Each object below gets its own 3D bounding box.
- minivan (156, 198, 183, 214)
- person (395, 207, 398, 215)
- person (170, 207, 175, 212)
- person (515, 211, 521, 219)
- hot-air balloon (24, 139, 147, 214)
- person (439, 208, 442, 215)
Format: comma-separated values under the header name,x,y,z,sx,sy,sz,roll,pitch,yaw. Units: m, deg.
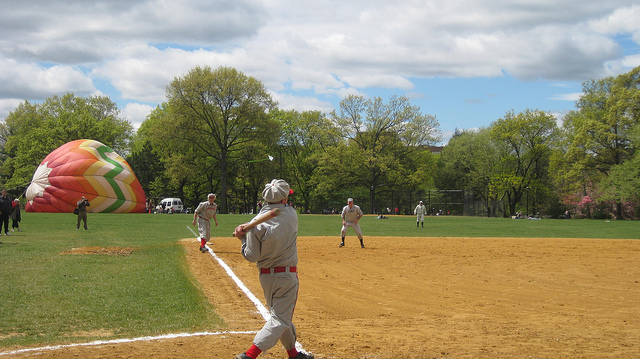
name,x,y,z,sx,sy,sz,roll,pitch,yaw
minivan,-20.099,3.406,86.983,3.230,1.604,1.879,4,1,42
person,11.184,4.489,94.500,0.378,0.892,1.156,1,6,7
person,-19.389,3.932,85.365,0.484,0.794,0.478,1,-4,19
person,27.452,4.885,89.645,0.842,0.819,0.255,0,5,2
hot-air balloon,-26.611,0.189,74.447,10.944,8.007,8.481,12,2,-39
person,17.216,4.504,92.080,0.349,0.818,0.683,1,7,8
